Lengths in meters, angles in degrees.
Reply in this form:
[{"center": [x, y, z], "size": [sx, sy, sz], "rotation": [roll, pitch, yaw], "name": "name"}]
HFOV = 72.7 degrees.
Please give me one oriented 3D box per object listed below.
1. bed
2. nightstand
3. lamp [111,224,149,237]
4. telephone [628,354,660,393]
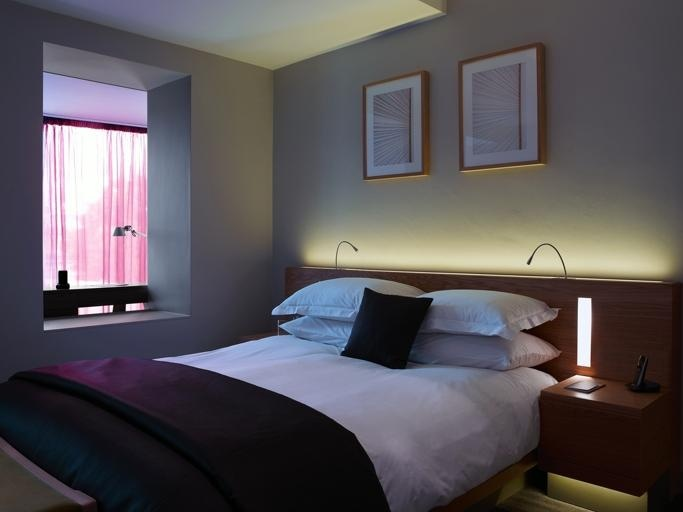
[{"center": [0.185, 0.812, 2.532], "size": [1.705, 0.548, 1.351], "rotation": [-1, 4, 29], "name": "bed"}, {"center": [1.421, 0.887, 2.491], "size": [0.530, 0.463, 0.513], "rotation": [0, -1, -39], "name": "nightstand"}, {"center": [-2.574, -0.295, 5.630], "size": [0.334, 0.155, 0.895], "rotation": [-4, 4, -22], "name": "lamp"}, {"center": [1.636, 0.639, 2.508], "size": [0.157, 0.185, 0.130], "rotation": [-1, 8, 2], "name": "telephone"}]
